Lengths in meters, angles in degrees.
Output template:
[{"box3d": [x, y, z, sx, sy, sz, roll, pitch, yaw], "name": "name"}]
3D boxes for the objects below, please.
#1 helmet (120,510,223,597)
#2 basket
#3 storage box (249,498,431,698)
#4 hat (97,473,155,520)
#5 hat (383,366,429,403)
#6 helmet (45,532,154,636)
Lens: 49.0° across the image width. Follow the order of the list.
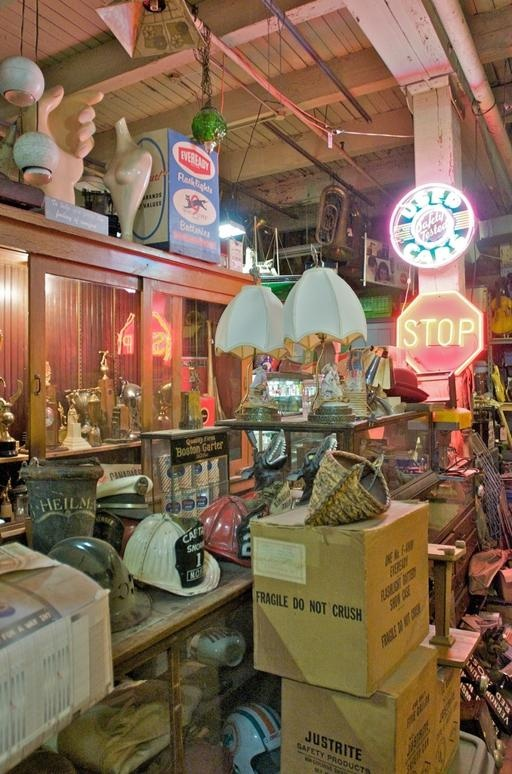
[{"box3d": [-0.214, 0.376, 1.353, 0.284, 0.149, 0.210, 7, 12, 36], "name": "helmet"}, {"box3d": [0.205, 0.202, 1.232, 0.183, 0.173, 0.139, 3, 3, 25], "name": "basket"}, {"box3d": [0.210, 0.450, 1.312, 0.312, 0.320, 0.397, -5, -6, 41], "name": "storage box"}, {"box3d": [-0.352, 0.290, 1.488, 0.119, 0.077, 0.102, -8, -13, 33], "name": "hat"}, {"box3d": [0.935, -0.002, 3.460, 0.219, 0.105, 0.263, 5, -5, 11], "name": "hat"}, {"box3d": [-0.307, 0.359, 1.073, 0.221, 0.143, 0.158, 9, 14, -3], "name": "helmet"}]
